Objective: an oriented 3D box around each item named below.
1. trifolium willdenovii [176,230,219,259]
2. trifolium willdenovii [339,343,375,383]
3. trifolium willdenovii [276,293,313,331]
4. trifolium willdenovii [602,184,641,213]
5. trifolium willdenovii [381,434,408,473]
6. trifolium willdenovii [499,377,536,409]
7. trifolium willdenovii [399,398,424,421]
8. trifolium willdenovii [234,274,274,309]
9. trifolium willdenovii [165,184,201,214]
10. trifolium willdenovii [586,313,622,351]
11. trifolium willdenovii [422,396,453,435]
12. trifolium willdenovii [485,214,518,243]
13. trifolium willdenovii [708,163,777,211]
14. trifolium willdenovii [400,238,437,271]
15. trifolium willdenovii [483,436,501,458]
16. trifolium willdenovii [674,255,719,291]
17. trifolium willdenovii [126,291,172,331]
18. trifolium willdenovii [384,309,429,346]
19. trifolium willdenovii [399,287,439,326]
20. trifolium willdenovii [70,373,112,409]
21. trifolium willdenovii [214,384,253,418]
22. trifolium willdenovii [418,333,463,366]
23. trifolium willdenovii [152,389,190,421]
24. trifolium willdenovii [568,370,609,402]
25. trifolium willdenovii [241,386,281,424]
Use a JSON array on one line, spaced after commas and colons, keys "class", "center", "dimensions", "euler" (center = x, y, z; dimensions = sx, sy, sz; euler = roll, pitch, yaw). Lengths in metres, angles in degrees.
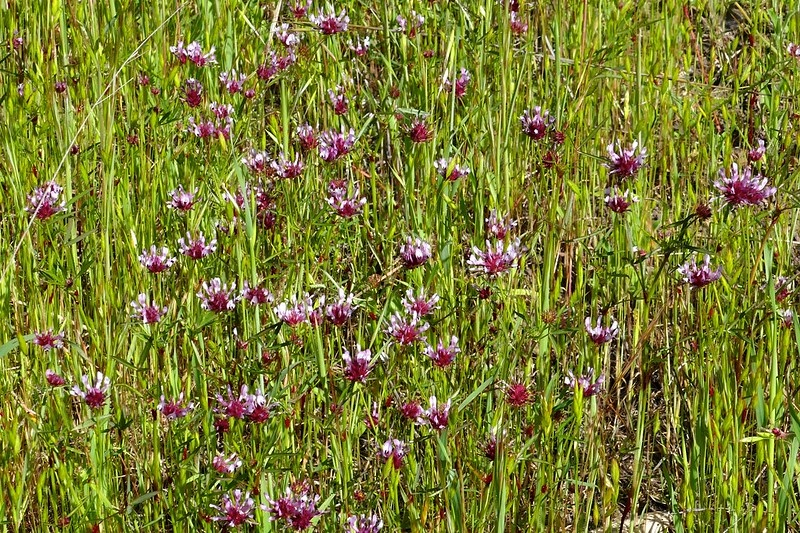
[{"class": "trifolium willdenovii", "center": [-0.725, -0.061, 3.830], "dimensions": [0.095, 0.107, 0.083], "euler": [2, 85, -32]}, {"class": "trifolium willdenovii", "center": [-0.145, 0.315, 3.535], "dimensions": [0.088, 0.093, 0.137], "euler": [-5, 85, 32]}, {"class": "trifolium willdenovii", "center": [-0.346, 0.170, 3.577], "dimensions": [0.098, 0.060, 0.107], "euler": [18, 48, 38]}, {"class": "trifolium willdenovii", "center": [0.765, -0.258, 3.791], "dimensions": [0.085, 0.076, 0.108], "euler": [1, 16, -2]}, {"class": "trifolium willdenovii", "center": [-0.010, 0.599, 3.538], "dimensions": [0.080, 0.117, 0.085], "euler": [-9, 7, -44]}, {"class": "trifolium willdenovii", "center": [0.377, 0.422, 3.610], "dimensions": [0.088, 0.088, 0.094], "euler": [0, -4, -33]}, {"class": "trifolium willdenovii", "center": [0.044, 0.454, 3.523], "dimensions": [0.048, 0.070, 0.068], "euler": [9, 51, 6]}, {"class": "trifolium willdenovii", "center": [-0.496, 0.094, 3.707], "dimensions": [0.080, 0.060, 0.098], "euler": [8, 2, 11]}, {"class": "trifolium willdenovii", "center": [-0.826, -0.246, 4.094], "dimensions": [0.084, 0.077, 0.117], "euler": [-17, 53, -6]}, {"class": "trifolium willdenovii", "center": [0.682, 0.239, 3.737], "dimensions": [0.098, 0.078, 0.125], "euler": [16, 24, 9]}, {"class": "trifolium willdenovii", "center": [0.130, 0.471, 3.520], "dimensions": [0.068, 0.117, 0.102], "euler": [0, 22, 1]}, {"class": "trifolium willdenovii", "center": [0.354, -0.140, 3.838], "dimensions": [0.084, 0.066, 0.093], "euler": [11, 18, 32]}, {"class": "trifolium willdenovii", "center": [1.154, -0.272, 3.668], "dimensions": [0.151, 0.102, 0.188], "euler": [-2, 38, -26]}, {"class": "trifolium willdenovii", "center": [0.054, -0.040, 3.712], "dimensions": [0.085, 0.126, 0.088], "euler": [-1, 3, 31]}, {"class": "trifolium willdenovii", "center": [0.294, 0.588, 3.554], "dimensions": [0.046, 0.055, 0.072], "euler": [0, 42, 8]}, {"class": "trifolium willdenovii", "center": [1.007, 0.025, 3.669], "dimensions": [0.091, 0.117, 0.092], "euler": [3, 90, 12]}, {"class": "trifolium willdenovii", "center": [-0.873, 0.167, 3.747], "dimensions": [0.102, 0.083, 0.141], "euler": [-3, 20, -7]}, {"class": "trifolium willdenovii", "center": [0.023, 0.204, 3.581], "dimensions": [0.092, 0.077, 0.125], "euler": [9, 37, 6]}, {"class": "trifolium willdenovii", "center": [0.049, 0.128, 3.644], "dimensions": [0.095, 0.065, 0.111], "euler": [-21, 41, -26]}, {"class": "trifolium willdenovii", "center": [-1.050, 0.432, 3.677], "dimensions": [0.109, 0.061, 0.146], "euler": [-9, 60, -6]}, {"class": "trifolium willdenovii", "center": [-0.538, 0.446, 3.573], "dimensions": [0.084, 0.094, 0.127], "euler": [5, 15, 3]}, {"class": "trifolium willdenovii", "center": [0.132, 0.301, 3.621], "dimensions": [0.094, 0.053, 0.103], "euler": [-31, 42, -16]}, {"class": "trifolium willdenovii", "center": [-0.765, 0.478, 3.666], "dimensions": [0.099, 0.072, 0.093], "euler": [-23, 46, -39]}, {"class": "trifolium willdenovii", "center": [0.622, 0.395, 3.646], "dimensions": [0.092, 0.088, 0.116], "euler": [-1, 7, -6]}, {"class": "trifolium willdenovii", "center": [-0.463, 0.452, 3.542], "dimensions": [0.093, 0.122, 0.088], "euler": [9, 68, 14]}]
